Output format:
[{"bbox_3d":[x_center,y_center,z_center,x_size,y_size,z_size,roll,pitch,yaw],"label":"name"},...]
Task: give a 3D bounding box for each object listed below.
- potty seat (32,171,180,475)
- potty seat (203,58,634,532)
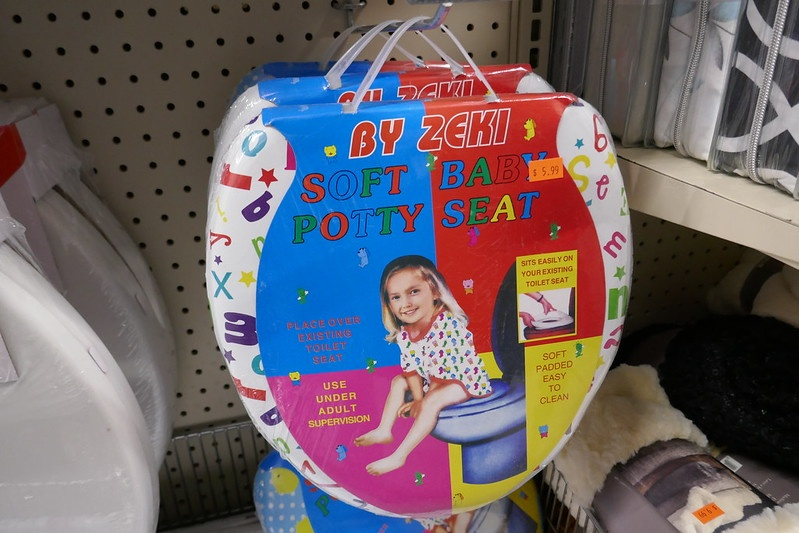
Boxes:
[{"bbox_3d":[-0.520,0.109,1.253,0.092,0.463,0.417,-9,-5,25],"label":"potty seat"},{"bbox_3d":[0.041,0.029,1.096,0.664,0.277,0.895,-3,-68,-2],"label":"potty seat"}]
